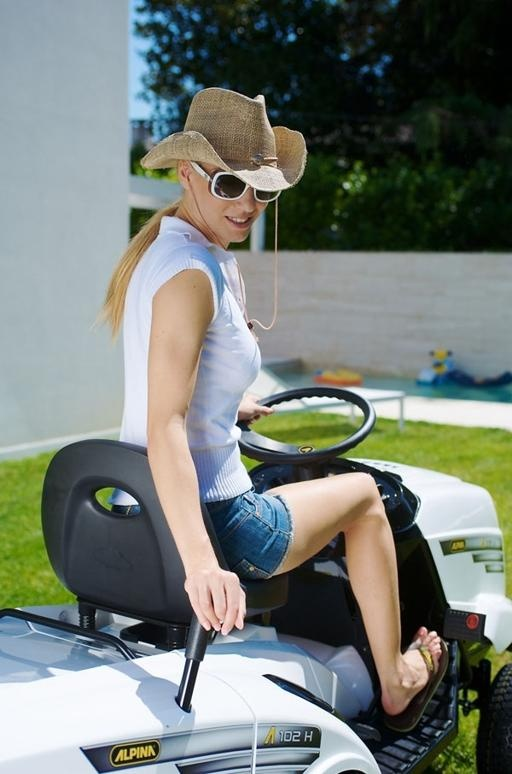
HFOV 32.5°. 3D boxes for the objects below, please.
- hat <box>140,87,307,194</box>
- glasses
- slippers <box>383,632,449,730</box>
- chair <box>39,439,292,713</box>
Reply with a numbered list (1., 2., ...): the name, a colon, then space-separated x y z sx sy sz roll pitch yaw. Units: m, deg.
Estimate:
1. hat: -0.085 -0.378 1.394 0.222 0.132 0.277 -8 14 -42
2. glasses: -0.033 -0.301 1.313 0.083 0.024 0.083 10 21 -38
3. slippers: 0.294 0.519 1.563 0.072 0.049 0.178 -5 41 50
4. chair: -0.131 0.284 1.372 0.302 0.364 0.314 9 4 40
